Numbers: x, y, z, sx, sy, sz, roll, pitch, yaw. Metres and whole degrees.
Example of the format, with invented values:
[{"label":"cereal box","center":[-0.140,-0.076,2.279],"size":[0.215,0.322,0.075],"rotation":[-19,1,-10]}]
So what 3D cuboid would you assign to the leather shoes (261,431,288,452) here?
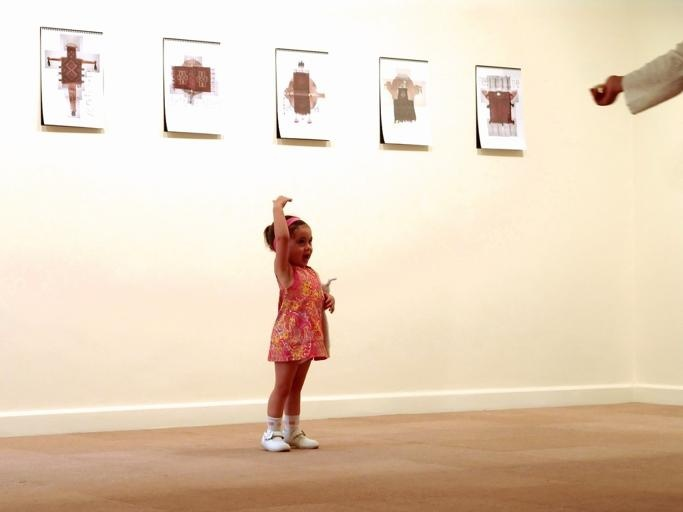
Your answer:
[{"label":"leather shoes","center":[-0.327,0.928,3.210],"size":[0.138,0.095,0.147],"rotation":[2,2,-8]}]

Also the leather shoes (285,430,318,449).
[{"label":"leather shoes","center":[-0.197,0.935,3.271],"size":[0.166,0.069,0.068],"rotation":[-3,-7,27]}]

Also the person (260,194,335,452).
[{"label":"person","center":[-0.200,0.340,3.289],"size":[0.375,1.275,0.303],"rotation":[2,3,-17]}]
